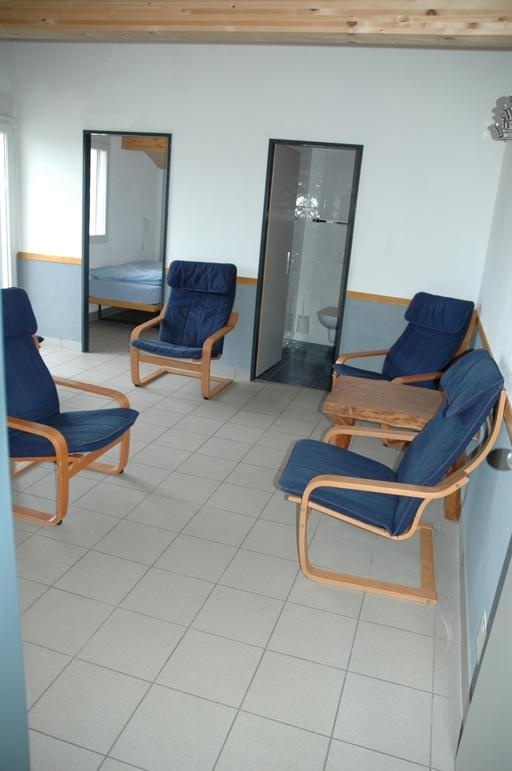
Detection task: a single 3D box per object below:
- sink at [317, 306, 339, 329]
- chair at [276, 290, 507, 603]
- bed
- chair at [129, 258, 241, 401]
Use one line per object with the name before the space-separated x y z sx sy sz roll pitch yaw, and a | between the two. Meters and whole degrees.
sink | 0.709 -0.667 5.535 0.206 0.197 0.256 2 30 4
chair | 0.490 0.148 2.585 1.012 1.234 0.867 5 24 16
bed | -1.310 -1.032 5.805 0.628 0.292 0.608 11 30 18
chair | -0.575 -0.482 4.567 0.762 1.018 0.738 9 20 11
